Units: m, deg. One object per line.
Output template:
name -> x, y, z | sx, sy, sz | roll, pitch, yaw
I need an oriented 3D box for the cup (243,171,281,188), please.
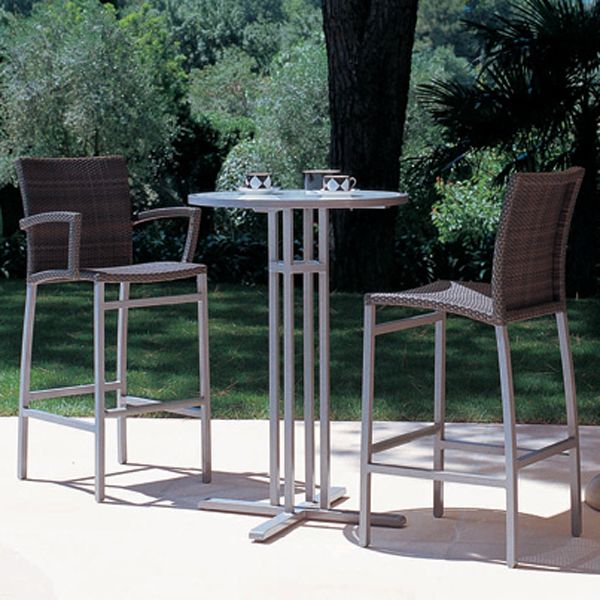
cup -> -0.158, -0.459, 3.811 | 0.100, 0.060, 0.331 | 0, 7, -2

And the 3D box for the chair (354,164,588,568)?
chair -> 0.610, 0.172, 3.334 | 0.830, 1.222, 0.782 | 0, 8, 3

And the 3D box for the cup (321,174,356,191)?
cup -> 0.167, -0.445, 3.767 | 0.157, 0.074, 0.110 | 1, 0, -14

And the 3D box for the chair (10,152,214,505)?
chair -> -0.754, 0.089, 4.013 | 0.679, 1.320, 0.659 | 5, 7, 30
